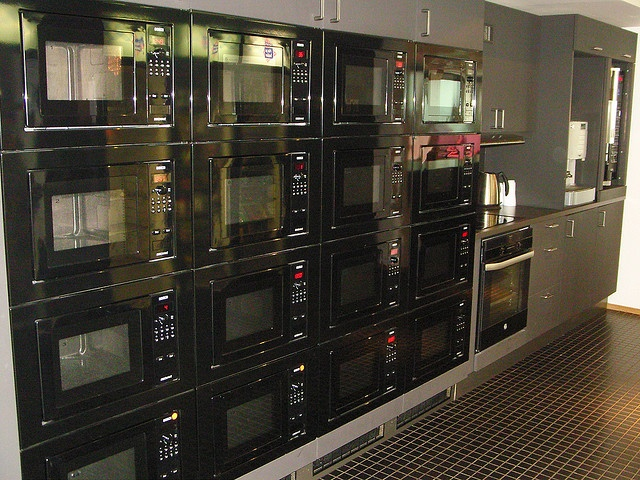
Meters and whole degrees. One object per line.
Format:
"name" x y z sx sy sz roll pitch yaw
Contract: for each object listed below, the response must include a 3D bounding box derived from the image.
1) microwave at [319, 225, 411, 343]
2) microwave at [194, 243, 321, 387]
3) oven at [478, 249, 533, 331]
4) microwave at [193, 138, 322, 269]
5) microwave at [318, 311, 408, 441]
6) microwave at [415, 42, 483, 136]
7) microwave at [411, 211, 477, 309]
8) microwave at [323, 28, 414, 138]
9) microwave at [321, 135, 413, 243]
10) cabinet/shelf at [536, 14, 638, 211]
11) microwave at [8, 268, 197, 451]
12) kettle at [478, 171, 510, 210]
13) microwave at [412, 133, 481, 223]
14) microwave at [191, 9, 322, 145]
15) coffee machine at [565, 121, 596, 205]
"microwave" 0.402 0.283 3.299 0.660 0.534 0.394 -18 -31 41
"microwave" -0.411 0.334 2.815 0.395 0.532 0.754 5 9 42
"oven" 1.365 0.365 4.134 0.377 0.423 0.569 9 18 42
"microwave" -0.419 -0.235 2.759 0.414 0.549 0.779 12 16 38
"microwave" 0.149 0.747 3.332 0.361 0.459 0.654 13 18 41
"microwave" 0.716 -0.961 3.649 0.648 0.525 0.360 -8 10 -36
"microwave" 0.715 0.107 3.763 0.657 0.522 0.362 -15 22 -39
"microwave" 0.204 -0.865 3.146 0.587 0.478 0.308 -7 14 -30
"microwave" 0.207 -0.334 3.206 0.617 0.513 0.298 -10 18 -36
"cabinet/shelf" 2.357 -1.186 4.968 0.518 1.521 1.619 5 12 37
"microwave" -0.878 0.497 2.397 0.690 0.502 0.375 -11 -7 21
"kettle" 1.531 -0.454 4.882 0.153 0.308 0.352 13 19 43
"microwave" 0.792 -0.407 3.576 0.322 0.441 0.541 9 15 44
"microwave" -0.413 -0.778 2.680 0.397 0.517 0.756 16 20 40
"coffee machine" 2.351 -0.685 4.959 0.265 0.733 0.673 7 15 26
